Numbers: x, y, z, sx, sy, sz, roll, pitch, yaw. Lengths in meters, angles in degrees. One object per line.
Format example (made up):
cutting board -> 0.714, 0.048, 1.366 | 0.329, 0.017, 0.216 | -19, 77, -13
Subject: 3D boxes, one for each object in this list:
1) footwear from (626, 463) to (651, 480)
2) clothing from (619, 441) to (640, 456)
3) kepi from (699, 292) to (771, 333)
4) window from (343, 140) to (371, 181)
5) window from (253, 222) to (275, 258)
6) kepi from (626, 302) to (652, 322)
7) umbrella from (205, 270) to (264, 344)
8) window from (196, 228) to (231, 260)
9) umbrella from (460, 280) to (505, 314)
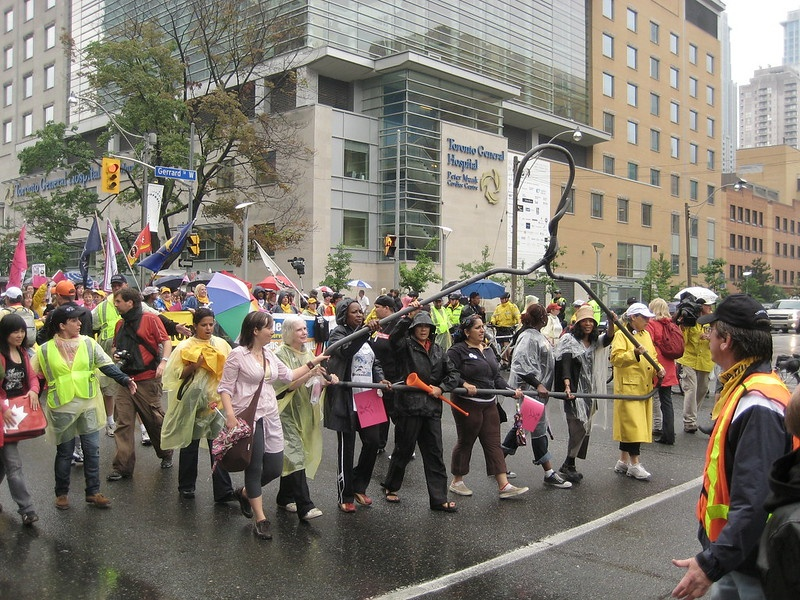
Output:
footwear -> 3.006, 2.156, 9.970 | 0.134, 0.131, 0.309 | 0, -1, -39
clothing -> 2.942, 1.886, 10.146 | 0.324, 0.190, 0.252 | 8, -7, 13
kepi -> 2.313, 0.065, 5.480 | 0.320, 0.249, 0.451 | 4, 2, -41
window -> -2.053, -6.945, 39.529 | 0.142, 1.901, 1.960 | -12, 21, -38
window -> -6.049, -2.913, 35.536 | 0.909, 1.380, 3.654 | 3, 0, -11
kepi -> 3.202, 0.160, 10.639 | 0.328, 0.179, 0.219 | 7, 4, 27
umbrella -> -2.470, 0.130, 11.921 | 0.642, 0.985, 1.015 | -28, -41, 37
window -> -9.248, -2.872, 39.940 | 2.180, 1.514, 0.181 | -3, -6, 44
umbrella -> 2.253, -0.193, 21.535 | 0.977, 0.842, 1.008 | -27, -39, 35
